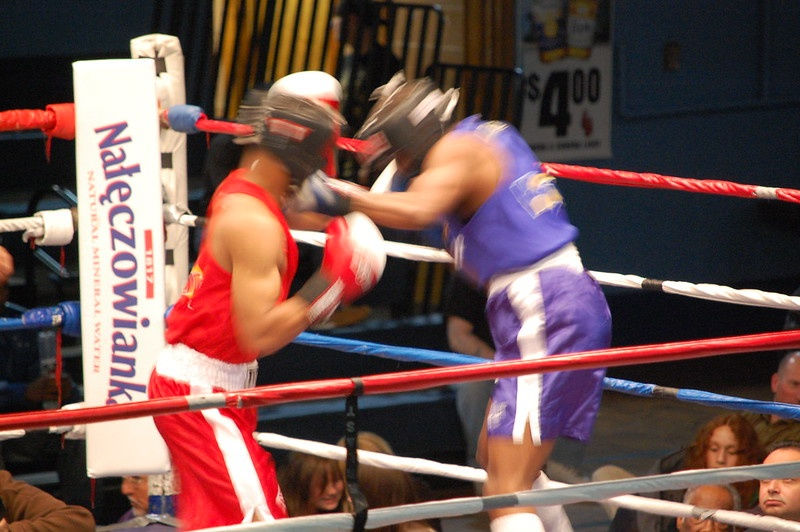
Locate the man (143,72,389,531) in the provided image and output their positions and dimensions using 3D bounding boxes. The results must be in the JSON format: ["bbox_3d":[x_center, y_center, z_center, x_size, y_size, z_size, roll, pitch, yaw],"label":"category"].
[{"bbox_3d":[-0.520,0.144,4.079,0.866,1.774,0.445,2,7,-8],"label":"man"}]

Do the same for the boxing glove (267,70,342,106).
[{"bbox_3d":[-0.354,-0.709,4.240,0.286,0.108,0.336,2,-9,-18],"label":"boxing glove"}]

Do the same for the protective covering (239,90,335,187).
[{"bbox_3d":[-0.395,-0.496,4.230,0.413,0.312,0.290,12,-3,-4],"label":"protective covering"}]

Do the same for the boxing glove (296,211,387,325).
[{"bbox_3d":[-0.221,0.010,3.997,0.310,0.415,0.153,2,7,-6],"label":"boxing glove"}]

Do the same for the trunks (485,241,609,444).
[{"bbox_3d":[0.569,0.294,4.138,0.487,0.753,0.268,4,7,4],"label":"trunks"}]
